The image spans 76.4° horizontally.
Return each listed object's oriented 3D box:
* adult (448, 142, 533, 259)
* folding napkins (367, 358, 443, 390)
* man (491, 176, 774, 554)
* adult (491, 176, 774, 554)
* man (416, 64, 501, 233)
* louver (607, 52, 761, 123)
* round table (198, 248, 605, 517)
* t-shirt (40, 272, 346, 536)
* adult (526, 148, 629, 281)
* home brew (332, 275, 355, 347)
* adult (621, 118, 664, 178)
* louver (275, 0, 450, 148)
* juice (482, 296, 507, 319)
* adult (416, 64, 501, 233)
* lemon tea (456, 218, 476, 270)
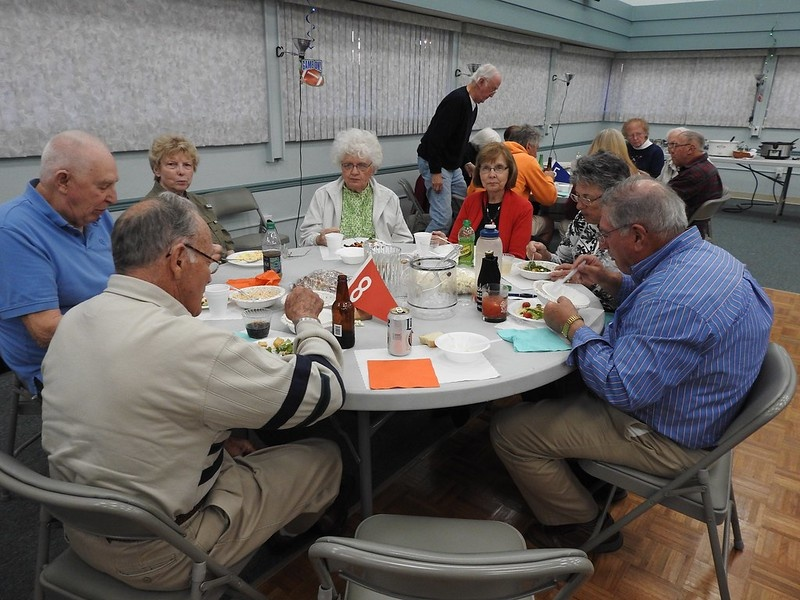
[{"bbox_3d":[0.567,-0.524,3.240,0.546,0.847,0.538,9,13,26],"label":"adult"},{"bbox_3d":[0.009,0.244,1.676,0.228,0.028,0.178,-1,17,-4],"label":"folding napkins"},{"bbox_3d":[0.908,0.331,2.138,0.932,1.524,0.938,0,12,-17],"label":"man"},{"bbox_3d":[0.932,0.321,2.122,0.974,1.529,0.965,7,13,14],"label":"adult"},{"bbox_3d":[0.481,-1.265,5.034,0.688,2.069,0.633,-12,26,-39],"label":"man"},{"bbox_3d":[4.898,-3.567,8.657,2.488,1.207,0.195,2,14,4],"label":"louver"},{"bbox_3d":[-0.032,-0.064,1.955,1.239,0.296,1.217,0,20,0],"label":"round table"},{"bbox_3d":[-0.619,0.231,1.576,0.774,0.675,0.662,-19,28,-39],"label":"t-shirt"},{"bbox_3d":[0.998,-0.564,2.888,0.540,0.551,0.886,-13,11,4],"label":"adult"},{"bbox_3d":[-0.206,0.046,1.854,0.096,0.283,0.093,-7,14,-23],"label":"home brew"},{"bbox_3d":[2.682,-1.641,5.534,0.454,0.606,0.606,4,18,13],"label":"adult"},{"bbox_3d":[-0.406,-2.139,4.798,2.074,1.165,0.081,-14,23,-39],"label":"louver"},{"bbox_3d":[0.371,0.027,2.028,0.089,0.088,0.091,-1,10,0],"label":"juice"},{"bbox_3d":[0.478,-1.283,5.038,0.674,2.043,0.660,-14,28,-38],"label":"adult"},{"bbox_3d":[0.357,-0.275,2.743,0.093,0.299,0.091,1,-2,-13],"label":"lemon tea"}]
